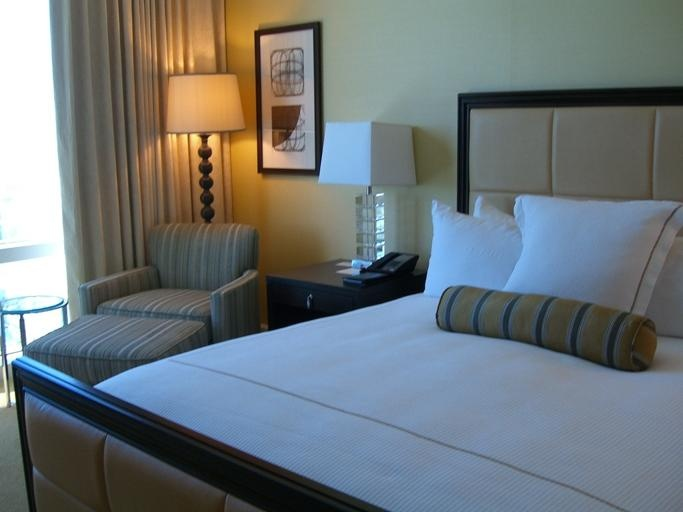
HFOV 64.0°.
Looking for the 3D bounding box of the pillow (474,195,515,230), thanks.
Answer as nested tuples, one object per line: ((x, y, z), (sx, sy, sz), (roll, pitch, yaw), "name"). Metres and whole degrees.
((0.784, -0.234, 2.884), (0.211, 0.071, 0.228), (16, 30, 11), "pillow")

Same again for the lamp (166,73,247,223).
((-0.972, -0.781, 3.989), (0.545, 1.064, 0.295), (-6, 13, -17), "lamp")

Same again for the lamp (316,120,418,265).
((0.188, -0.484, 3.365), (0.576, 1.096, 0.614), (10, 15, 41), "lamp")

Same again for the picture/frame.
((-0.392, -1.147, 4.028), (0.591, 1.055, 0.110), (7, 15, 33), "picture/frame")
